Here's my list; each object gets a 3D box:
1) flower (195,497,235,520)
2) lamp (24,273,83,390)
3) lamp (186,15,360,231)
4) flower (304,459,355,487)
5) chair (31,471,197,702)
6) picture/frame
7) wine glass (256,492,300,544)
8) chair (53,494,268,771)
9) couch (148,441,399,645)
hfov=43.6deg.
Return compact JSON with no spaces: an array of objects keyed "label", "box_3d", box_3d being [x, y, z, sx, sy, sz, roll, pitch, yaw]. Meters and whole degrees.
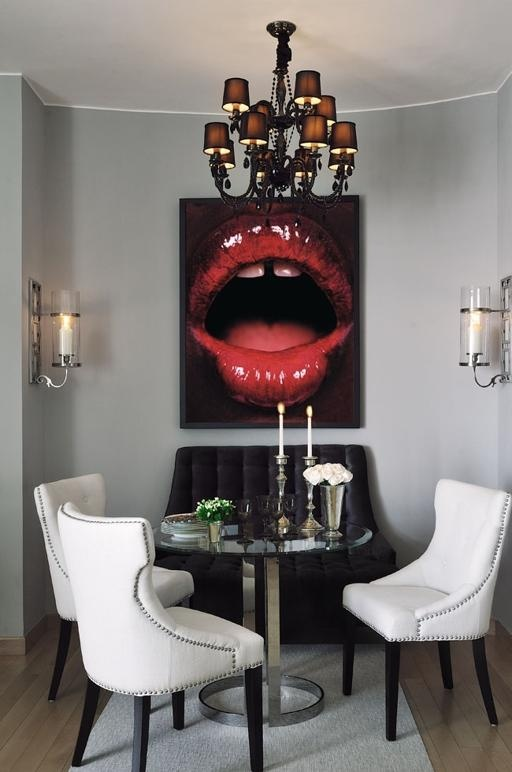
[{"label":"flower","box_3d":[-0.152,0.423,2.197,0.098,0.061,0.105,-4,-4,14]},{"label":"lamp","box_3d":[-1.025,-0.254,3.248,0.243,0.533,0.321,1,-3,-17]},{"label":"lamp","box_3d":[0.101,-0.968,2.251,0.529,0.646,0.540,-12,19,-42]},{"label":"flower","box_3d":[0.260,0.313,2.251,0.166,0.075,0.135,0,-3,-11]},{"label":"chair","box_3d":[-0.623,0.742,2.806,0.707,1.250,0.718,-2,1,-15]},{"label":"picture/frame","box_3d":[0.073,-0.389,3.358,1.098,1.501,0.056,0,-1,0]},{"label":"wine glass","box_3d":[0.081,0.457,2.283,0.139,0.155,0.106,0,-2,-21]},{"label":"chair","box_3d":[-0.389,0.659,2.193,0.690,1.164,0.655,-1,0,-39]},{"label":"couch","box_3d":[0.074,0.695,2.917,1.028,0.941,0.778,-1,-12,2]}]
